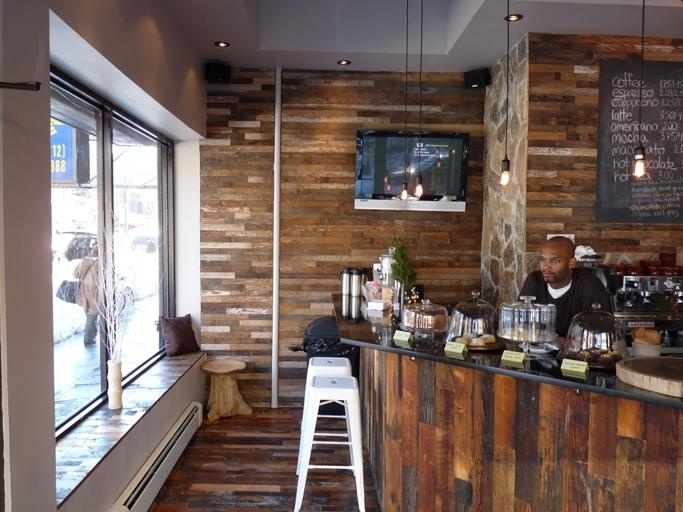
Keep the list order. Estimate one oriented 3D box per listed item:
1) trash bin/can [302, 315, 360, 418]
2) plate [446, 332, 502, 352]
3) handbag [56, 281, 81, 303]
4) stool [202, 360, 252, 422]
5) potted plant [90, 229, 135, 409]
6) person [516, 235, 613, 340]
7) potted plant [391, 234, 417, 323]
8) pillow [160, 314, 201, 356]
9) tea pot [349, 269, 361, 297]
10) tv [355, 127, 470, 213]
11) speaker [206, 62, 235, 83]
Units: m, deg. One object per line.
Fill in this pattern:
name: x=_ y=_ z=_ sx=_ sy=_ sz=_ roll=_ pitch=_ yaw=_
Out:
trash bin/can: x=-0.125 y=1.109 z=5.763 sx=0.840 sy=1.184 sz=0.872 roll=-1 pitch=-1 yaw=2
plate: x=0.813 y=0.526 z=3.368 sx=0.321 sy=0.094 sz=0.101 roll=3 pitch=11 yaw=11
handbag: x=-1.885 y=0.257 z=3.828 sx=0.042 sy=0.123 sz=0.126 roll=-5 pitch=0 yaw=2
stool: x=-1.224 y=1.371 z=5.571 sx=0.539 sy=0.534 sz=0.610 roll=-5 pitch=-9 yaw=16
potted plant: x=-1.734 y=0.451 z=4.221 sx=0.249 sy=1.296 sz=0.665 roll=-2 pitch=11 yaw=-17
person: x=1.593 y=0.236 z=3.971 sx=0.479 sy=0.850 sz=0.740 roll=-1 pitch=3 yaw=-24
potted plant: x=0.460 y=0.177 z=4.109 sx=0.177 sy=0.570 sz=0.356 roll=2 pitch=10 yaw=5
pillow: x=-1.618 y=0.792 z=5.478 sx=0.382 sy=0.356 sz=0.114 roll=-6 pitch=-10 yaw=-45
tea pot: x=0.114 y=0.220 z=4.535 sx=0.088 sy=0.203 sz=0.136 roll=1 pitch=10 yaw=1
tv: x=0.702 y=-0.877 z=5.588 sx=0.859 sy=0.597 sz=0.087 roll=1 pitch=2 yaw=1
speaker: x=-1.231 y=-1.837 z=5.524 sx=0.262 sy=0.198 sz=0.198 roll=-1 pitch=11 yaw=-12
